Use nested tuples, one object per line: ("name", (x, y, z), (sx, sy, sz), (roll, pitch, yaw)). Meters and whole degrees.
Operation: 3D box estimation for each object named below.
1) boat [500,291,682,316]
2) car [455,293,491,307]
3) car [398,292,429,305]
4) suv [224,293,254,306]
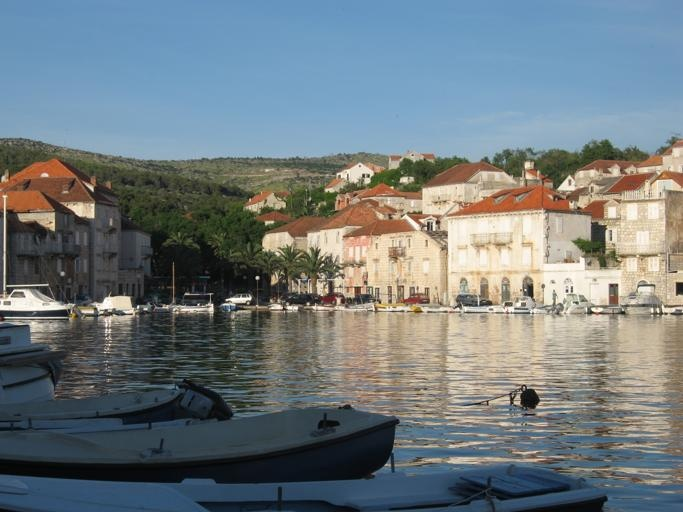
("boat", (19.047, 3.699, 110.802), (13.707, 1.895, 2.324), (-3, -4, 24))
("car", (10.550, 3.533, 118.466), (2.591, 0.784, 1.235), (-3, -2, 39))
("car", (6.101, 3.712, 126.821), (1.918, 0.783, 1.045), (1, 0, 31))
("suv", (-10.256, 4.105, 140.111), (2.205, 0.839, 1.249), (3, -2, 1))
